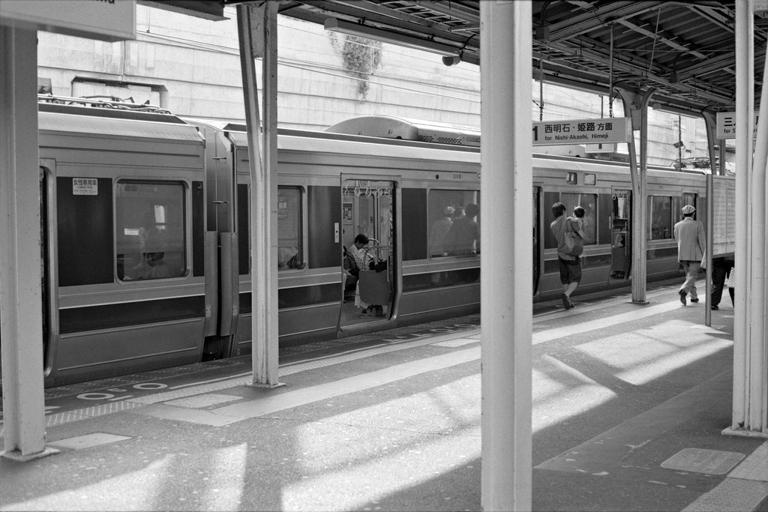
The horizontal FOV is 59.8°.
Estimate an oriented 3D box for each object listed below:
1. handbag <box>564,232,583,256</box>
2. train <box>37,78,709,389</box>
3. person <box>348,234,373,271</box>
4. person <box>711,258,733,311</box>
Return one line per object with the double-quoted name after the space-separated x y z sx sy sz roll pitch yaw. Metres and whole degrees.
4.440 -0.297 15.847 0.312 0.580 0.401 -11 15 -29 "handbag"
0.076 -0.548 13.664 13.144 4.260 0.735 -6 8 -42 "train"
-0.522 -0.044 14.162 0.430 0.780 0.409 11 23 17 "person"
7.628 0.587 15.140 0.384 1.310 2.042 2 7 27 "person"
